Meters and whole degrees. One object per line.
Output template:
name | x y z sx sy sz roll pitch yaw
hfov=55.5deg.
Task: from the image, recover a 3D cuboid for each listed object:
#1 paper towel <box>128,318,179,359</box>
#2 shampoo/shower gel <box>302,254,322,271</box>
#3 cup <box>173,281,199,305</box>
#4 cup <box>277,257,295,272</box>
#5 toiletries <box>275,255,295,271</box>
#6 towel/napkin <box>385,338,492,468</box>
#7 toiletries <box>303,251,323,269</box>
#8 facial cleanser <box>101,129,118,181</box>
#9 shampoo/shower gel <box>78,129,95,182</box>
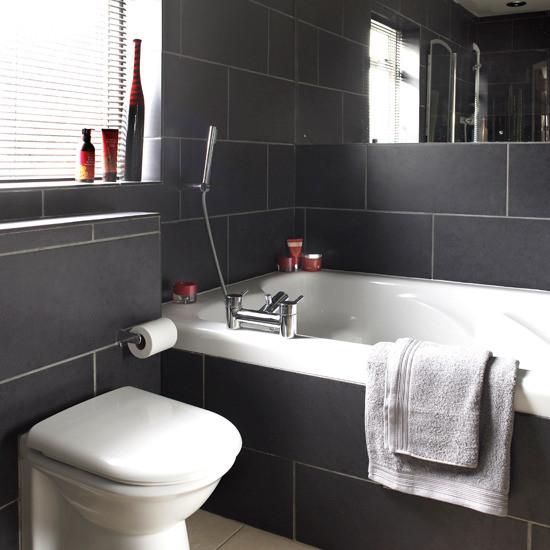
paper towel | -0.409 0.212 1.709 0.087 0.118 0.121 -16 -2 13
shampoo/shower gel | 0.201 -0.077 2.777 0.071 0.077 0.085 0 3 -18
cup | -0.361 0.069 2.104 0.077 0.077 0.066 3 4 22
cup | 0.059 -0.056 2.701 0.059 0.080 0.071 1 2 5
toiletries | 0.055 -0.069 2.701 0.061 0.073 0.073 1 3 3
towel/napkin | 0.423 0.300 1.341 0.225 0.309 0.081 0 -3 34
toiletries | 0.189 -0.069 2.776 0.104 0.083 0.075 0 7 5
facial cleanser | -0.596 -0.435 1.894 0.053 0.182 0.126 -3 7 -20
shampoo/shower gel | -0.651 -0.410 1.798 0.056 0.175 0.113 -3 7 -24
